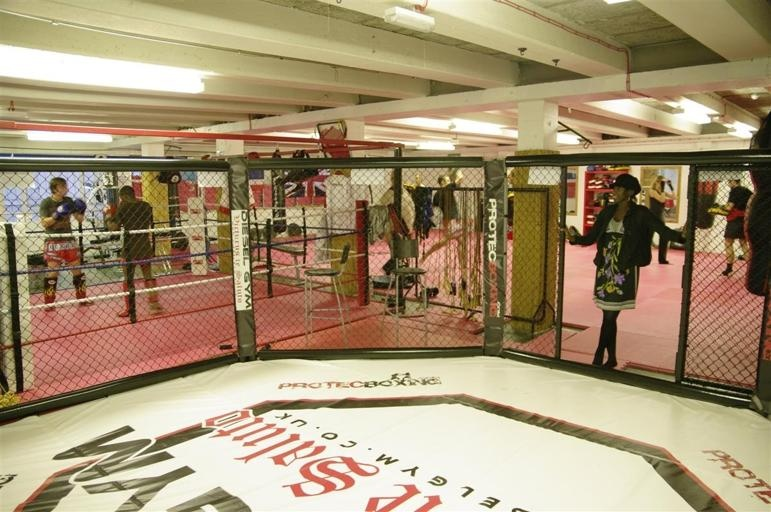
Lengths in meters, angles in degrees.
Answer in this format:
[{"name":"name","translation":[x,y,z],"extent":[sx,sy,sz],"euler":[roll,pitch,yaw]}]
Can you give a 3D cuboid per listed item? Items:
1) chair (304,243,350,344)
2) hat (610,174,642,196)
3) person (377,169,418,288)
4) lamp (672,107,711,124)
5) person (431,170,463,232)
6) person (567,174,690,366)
[{"name":"chair","translation":[-1.003,0.604,9.086],"extent":[0.927,1.292,0.769],"euler":[-2,5,7]},{"name":"hat","translation":[2.952,-0.897,6.514],"extent":[0.276,0.167,0.345],"euler":[-2,15,-20]},{"name":"person","translation":[0.133,-0.577,9.580],"extent":[0.517,1.194,0.476],"euler":[-17,12,-7]},{"name":"lamp","translation":[6.989,-3.208,11.888],"extent":[0.757,0.161,0.766],"euler":[-2,11,-20]},{"name":"person","translation":[1.180,-1.055,9.690],"extent":[0.508,1.070,1.694],"euler":[-1,10,8]},{"name":"person","translation":[2.912,0.216,6.489],"extent":[1.167,2.418,0.523],"euler":[0,12,15]}]
